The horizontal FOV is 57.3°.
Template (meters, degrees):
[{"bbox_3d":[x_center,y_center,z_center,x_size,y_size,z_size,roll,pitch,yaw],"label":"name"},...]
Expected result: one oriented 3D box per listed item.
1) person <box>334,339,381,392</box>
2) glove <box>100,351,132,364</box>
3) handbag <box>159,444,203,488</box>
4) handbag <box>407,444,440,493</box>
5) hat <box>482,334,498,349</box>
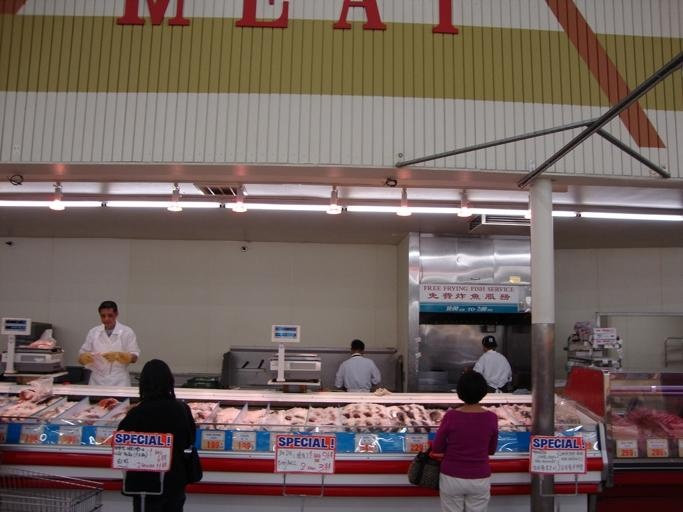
[{"bbox_3d":[0.205,1.465,7.741,0.544,0.837,0.414,-3,-6,11],"label":"person"},{"bbox_3d":[-2.354,1.063,6.574,0.207,0.082,0.157,14,-16,-26],"label":"glove"},{"bbox_3d":[-1.301,1.647,4.974,0.239,0.417,0.288,-6,0,-6],"label":"handbag"},{"bbox_3d":[0.735,1.730,5.192,0.158,0.396,0.280,8,-16,-4],"label":"handbag"},{"bbox_3d":[1.880,1.081,7.954,0.176,0.150,0.255,-1,8,5],"label":"hat"}]
